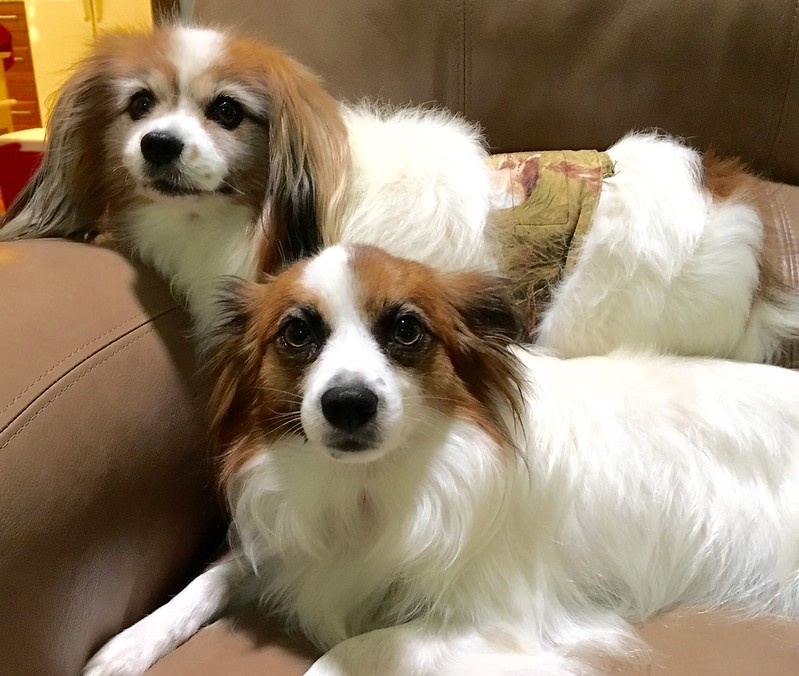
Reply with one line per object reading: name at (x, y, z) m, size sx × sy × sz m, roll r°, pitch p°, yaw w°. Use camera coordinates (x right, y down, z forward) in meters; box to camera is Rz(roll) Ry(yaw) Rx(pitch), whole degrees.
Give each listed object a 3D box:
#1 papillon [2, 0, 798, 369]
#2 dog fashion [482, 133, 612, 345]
papillon at (0.100, -0.304, 2.094) m, size 2.097 × 0.943 × 0.692 m, roll 0°, pitch 4°, yaw -7°
dog fashion at (0.281, -0.195, 1.660) m, size 0.335 × 0.362 × 0.119 m, roll 1°, pitch 1°, yaw 19°
